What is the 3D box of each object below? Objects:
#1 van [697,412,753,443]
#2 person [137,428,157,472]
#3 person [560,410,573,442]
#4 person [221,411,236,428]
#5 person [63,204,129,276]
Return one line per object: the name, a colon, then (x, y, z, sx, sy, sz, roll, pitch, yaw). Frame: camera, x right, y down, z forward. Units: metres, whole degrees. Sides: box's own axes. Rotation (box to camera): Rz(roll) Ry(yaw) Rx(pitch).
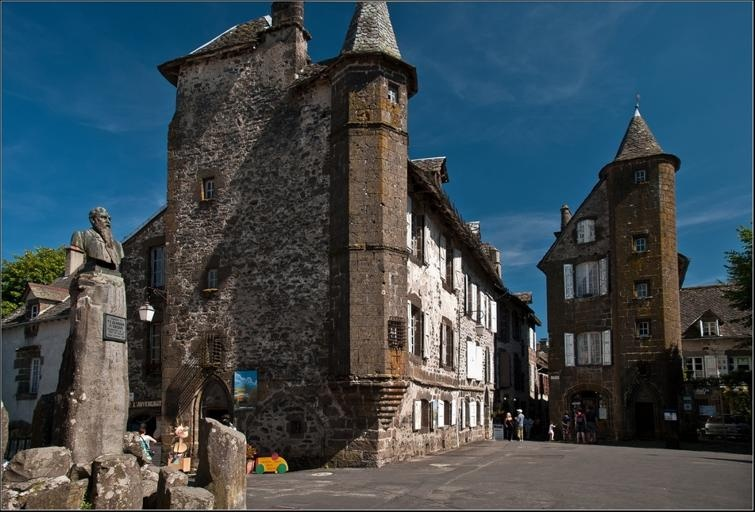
van: (16.910, 8.286, 37.535, 2.028, 0.872, 1.245, -4, -12, 3)
person: (-7.075, 5.967, 24.017, 0.509, 1.505, 0.437, 4, 16, 17)
person: (9.340, 8.364, 38.476, 0.561, 1.469, 0.459, -9, -21, 20)
person: (-5.140, 5.607, 26.887, 0.505, 0.645, 1.644, 2, -20, -11)
person: (-7.129, -0.410, 19.836, 1.221, 1.663, 0.648, 8, -22, -26)
